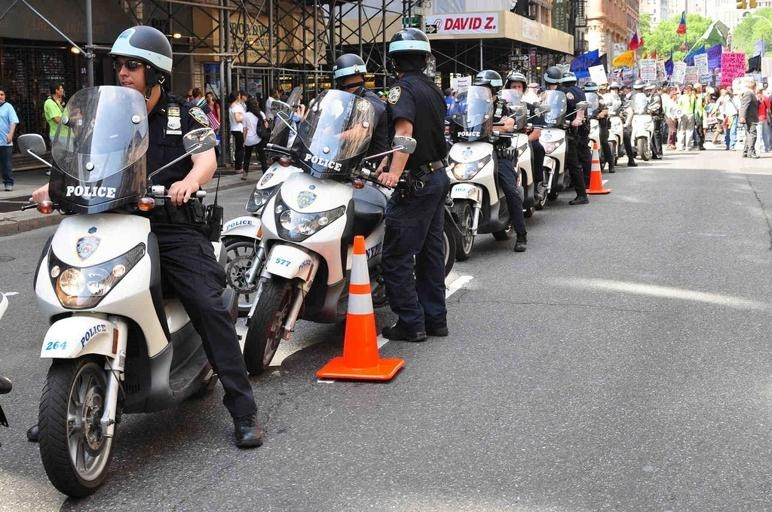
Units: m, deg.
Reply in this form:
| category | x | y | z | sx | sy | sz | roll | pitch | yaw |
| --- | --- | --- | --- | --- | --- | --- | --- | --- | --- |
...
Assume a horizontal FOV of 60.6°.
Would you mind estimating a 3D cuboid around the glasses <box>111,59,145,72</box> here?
| category | x | y | z | sx | sy | sz | roll | pitch | yaw |
| --- | --- | --- | --- | --- | --- | --- | --- | --- | --- |
| glasses | -1.602 | -1.173 | 4.097 | 0.138 | 0.044 | 0.136 | 1 | 3 | 10 |

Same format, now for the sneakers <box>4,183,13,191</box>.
| category | x | y | z | sx | sy | sz | roll | pitch | yaw |
| --- | --- | --- | --- | --- | --- | --- | --- | --- | --- |
| sneakers | -9.009 | -1.592 | 15.654 | 0.144 | 0.173 | 0.425 | -3 | 0 | -24 |

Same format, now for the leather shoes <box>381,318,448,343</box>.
| category | x | y | z | sx | sy | sz | roll | pitch | yaw |
| --- | --- | --- | --- | --- | --- | --- | --- | --- | --- |
| leather shoes | 0.259 | 0.724 | 6.417 | 0.637 | 0.250 | 0.239 | -1 | 6 | -7 |

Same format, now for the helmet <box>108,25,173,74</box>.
| category | x | y | z | sx | sy | sz | roll | pitch | yaw |
| --- | --- | --- | --- | --- | --- | --- | --- | --- | --- |
| helmet | -1.541 | -1.295 | 4.212 | 0.402 | 0.313 | 0.317 | -5 | 20 | -45 |

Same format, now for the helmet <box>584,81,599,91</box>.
| category | x | y | z | sx | sy | sz | roll | pitch | yaw |
| --- | --- | --- | --- | --- | --- | --- | --- | --- | --- |
| helmet | 5.694 | -4.636 | 18.309 | 0.365 | 0.299 | 0.392 | -5 | 7 | -15 |

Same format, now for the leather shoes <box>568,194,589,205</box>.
| category | x | y | z | sx | sy | sz | roll | pitch | yaw |
| --- | --- | --- | --- | --- | --- | --- | --- | --- | --- |
| leather shoes | 4.244 | -1.220 | 14.532 | 0.520 | 0.212 | 0.184 | -3 | 10 | -5 |

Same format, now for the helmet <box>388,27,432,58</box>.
| category | x | y | z | sx | sy | sz | roll | pitch | yaw |
| --- | --- | --- | --- | --- | --- | --- | --- | --- | --- |
| helmet | 0.174 | -1.966 | 6.153 | 0.317 | 0.182 | 0.309 | -6 | 12 | -25 |

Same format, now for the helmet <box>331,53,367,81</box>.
| category | x | y | z | sx | sy | sz | roll | pitch | yaw |
| --- | --- | --- | --- | --- | --- | --- | --- | --- | --- |
| helmet | -0.374 | -1.891 | 6.666 | 0.307 | 0.263 | 0.395 | -2 | 13 | -5 |

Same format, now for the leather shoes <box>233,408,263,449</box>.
| category | x | y | z | sx | sy | sz | roll | pitch | yaw |
| --- | --- | --- | --- | --- | --- | --- | --- | --- | --- |
| leather shoes | -0.908 | 1.151 | 4.319 | 0.134 | 0.135 | 0.329 | -1 | -3 | -13 |
